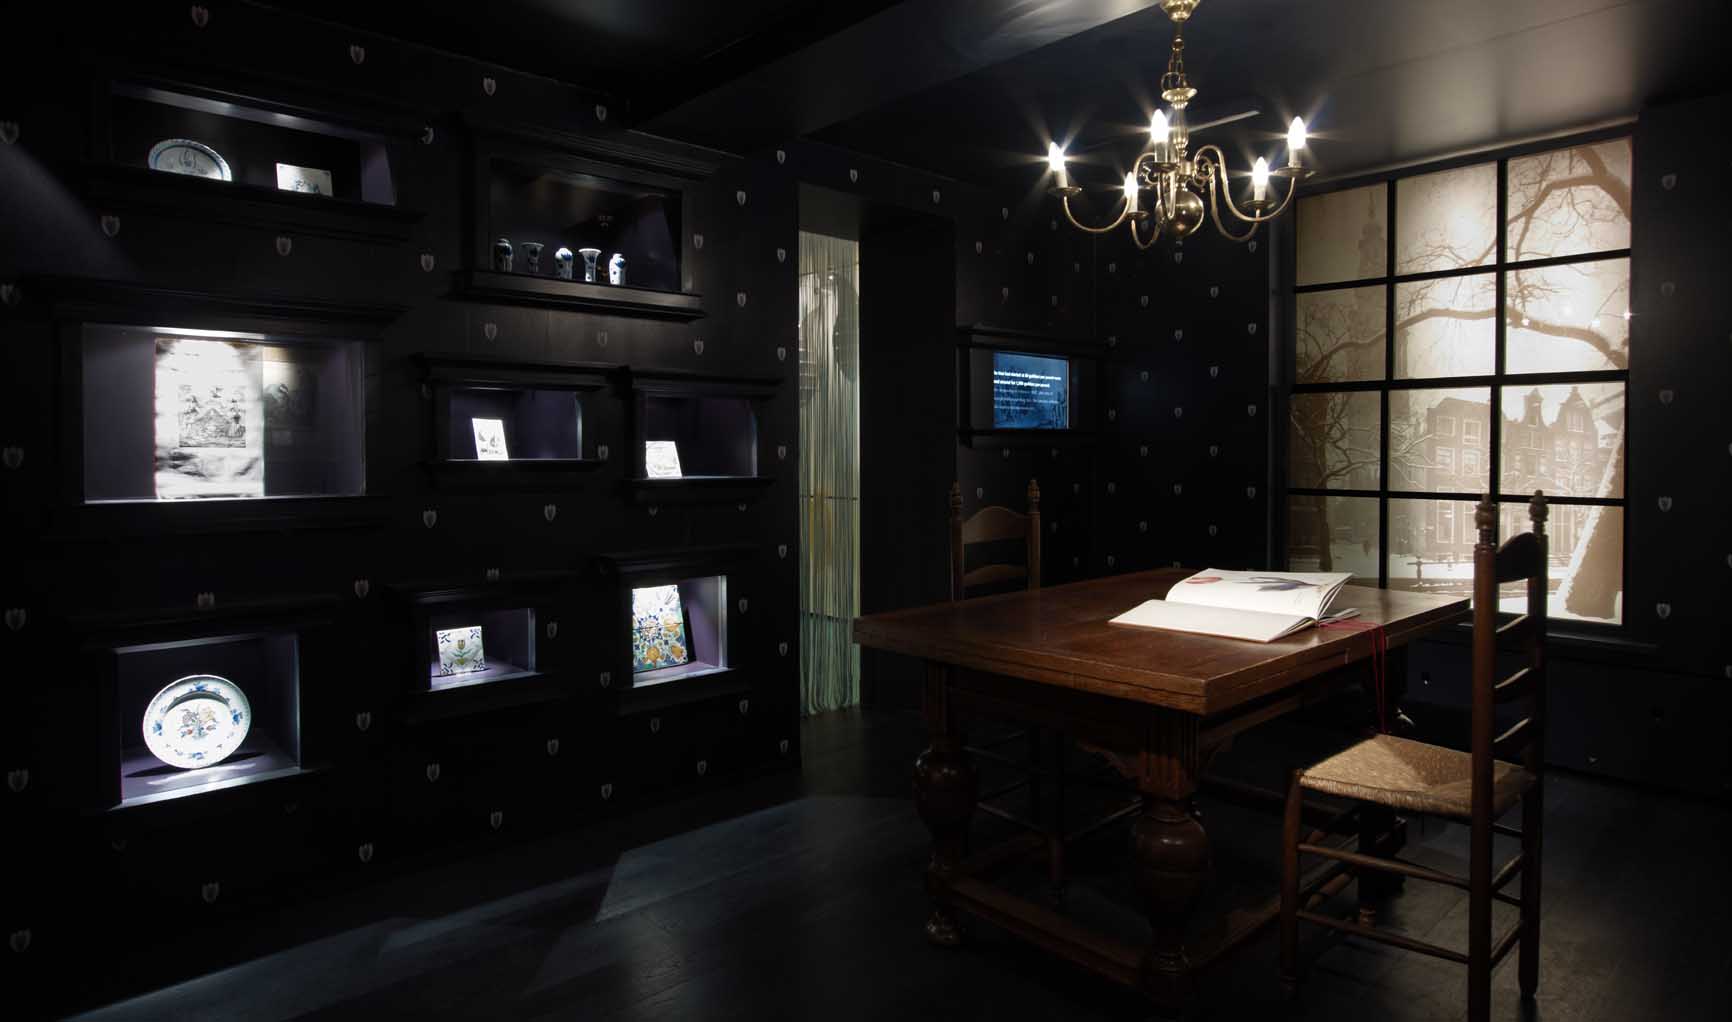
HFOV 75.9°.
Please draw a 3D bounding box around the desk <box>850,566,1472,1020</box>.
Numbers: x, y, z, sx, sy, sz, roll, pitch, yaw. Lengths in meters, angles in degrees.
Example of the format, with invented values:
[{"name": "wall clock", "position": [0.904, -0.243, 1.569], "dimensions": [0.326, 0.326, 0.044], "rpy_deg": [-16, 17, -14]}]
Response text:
[{"name": "desk", "position": [1.500, 1.121, 5.181], "dimensions": [2.686, 1.263, 1.754], "rpy_deg": [-3, 4, -45]}]
